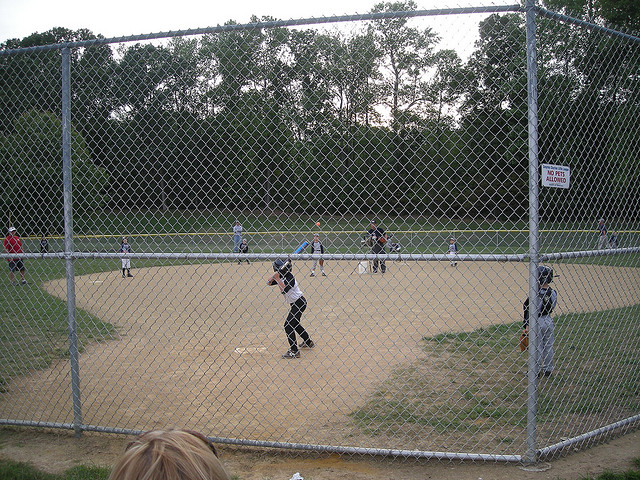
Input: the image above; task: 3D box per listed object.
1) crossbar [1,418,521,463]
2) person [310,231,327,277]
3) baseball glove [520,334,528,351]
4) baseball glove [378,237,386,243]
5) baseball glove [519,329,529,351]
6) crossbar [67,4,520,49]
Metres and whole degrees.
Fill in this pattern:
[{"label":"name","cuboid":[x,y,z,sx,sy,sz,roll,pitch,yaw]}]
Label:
[{"label":"crossbar","cuboid":[-0.509,2.250,8.483,5.317,0.339,0.338,-1,-7,7]},{"label":"person","cuboid":[-0.074,0.380,19.916,0.406,1.193,0.359,-7,24,-14]},{"label":"baseball glove","cuboid":[2.500,1.247,9.373,0.070,0.175,0.220,-1,-7,14]},{"label":"baseball glove","cuboid":[1.726,-0.007,21.289,0.213,0.130,0.155,20,-12,-15]},{"label":"baseball glove","cuboid":[2.524,1.246,9.464,0.091,0.260,0.581,-1,-7,13]},{"label":"crossbar","cuboid":[-0.349,-2.338,8.279,4.895,0.234,0.375,-1,-7,11]}]
